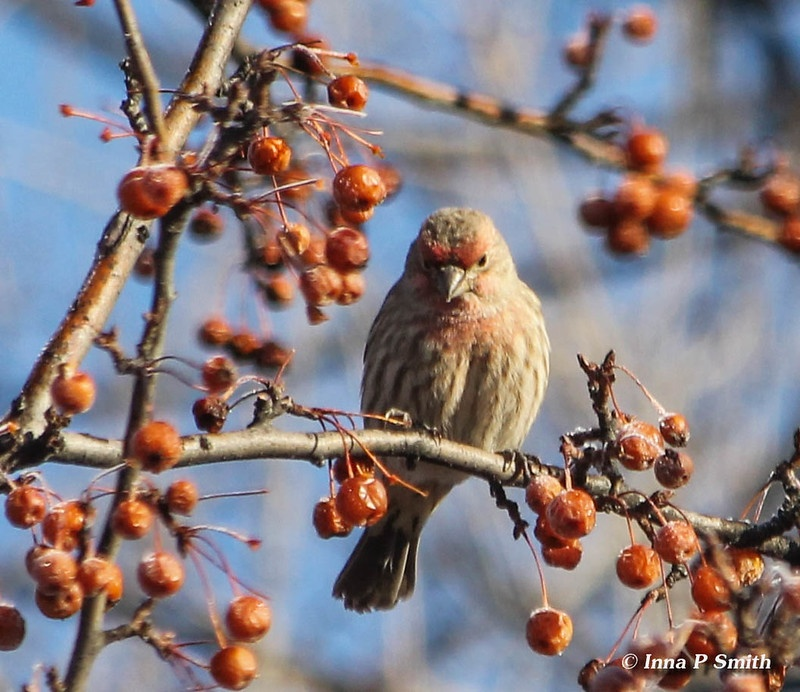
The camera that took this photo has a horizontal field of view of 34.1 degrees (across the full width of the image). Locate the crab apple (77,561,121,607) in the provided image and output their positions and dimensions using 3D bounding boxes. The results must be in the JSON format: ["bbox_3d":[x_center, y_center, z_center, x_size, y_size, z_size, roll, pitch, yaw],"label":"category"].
[{"bbox_3d":[-0.902,0.715,3.960,0.132,0.068,0.101,49,52,-29],"label":"crab apple"}]

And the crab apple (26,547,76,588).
[{"bbox_3d":[-1.032,0.662,3.875,0.137,0.058,0.116,13,75,6],"label":"crab apple"}]

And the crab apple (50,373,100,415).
[{"bbox_3d":[-0.994,0.152,3.997,0.110,0.116,0.164,0,83,-36],"label":"crab apple"}]

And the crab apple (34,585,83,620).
[{"bbox_3d":[-1.023,0.780,3.940,0.157,0.165,0.085,-4,71,2],"label":"crab apple"}]
